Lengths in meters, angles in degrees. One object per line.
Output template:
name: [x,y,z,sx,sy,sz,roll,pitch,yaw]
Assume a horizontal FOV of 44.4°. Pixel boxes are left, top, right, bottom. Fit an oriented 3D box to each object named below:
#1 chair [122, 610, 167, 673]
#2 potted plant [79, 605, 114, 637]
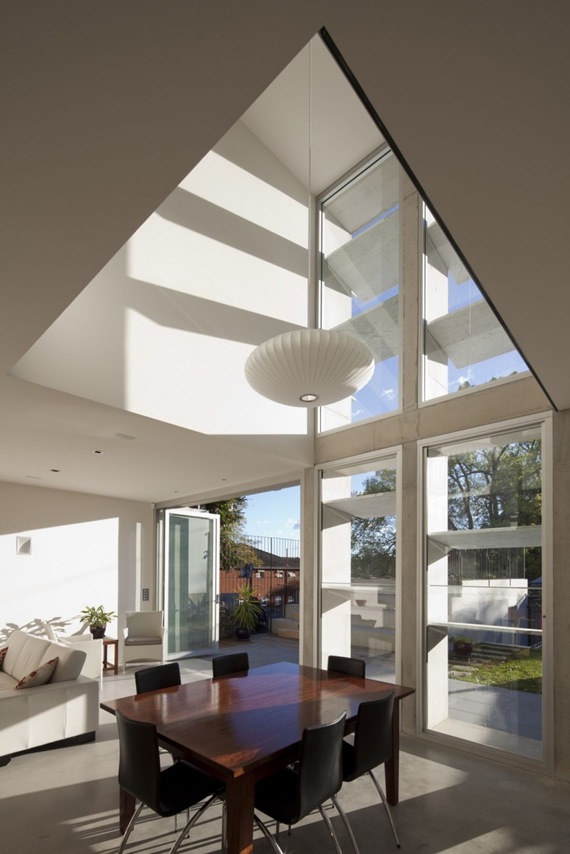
chair: [-1.594,2.440,7.965,0.573,0.832,0.621,3,-22,-9]
potted plant: [-2.247,2.285,8.313,0.376,0.374,0.386,1,-7,-4]
